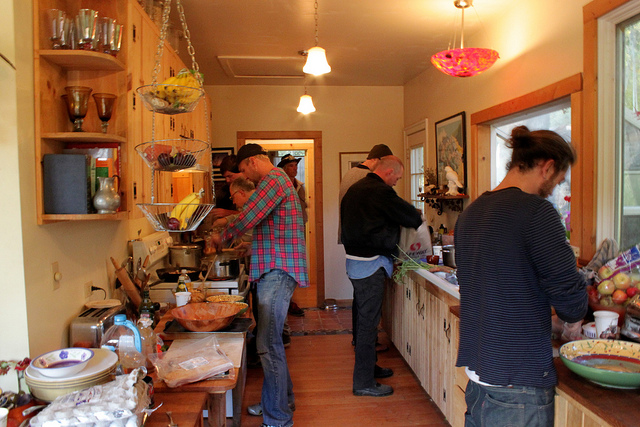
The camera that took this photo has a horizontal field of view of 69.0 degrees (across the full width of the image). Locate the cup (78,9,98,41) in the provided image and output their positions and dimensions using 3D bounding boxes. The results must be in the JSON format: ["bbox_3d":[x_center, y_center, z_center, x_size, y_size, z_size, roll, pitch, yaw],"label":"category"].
[{"bbox_3d":[-1.256,-1.034,2.590,0.064,0.166,0.105,7,8,38],"label":"cup"}]

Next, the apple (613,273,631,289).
[{"bbox_3d":[1.589,0.358,2.460,0.077,0.075,0.074,1,-32,17],"label":"apple"}]

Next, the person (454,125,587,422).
[{"bbox_3d":[0.957,0.334,2.249,0.584,1.494,0.276,3,6,9],"label":"person"}]

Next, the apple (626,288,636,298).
[{"bbox_3d":[1.626,0.414,2.444,0.044,0.043,0.053,-10,-38,24],"label":"apple"}]

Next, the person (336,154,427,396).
[{"bbox_3d":[0.493,0.485,4.078,0.625,1.997,0.730,2,6,-4],"label":"person"}]

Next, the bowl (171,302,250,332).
[{"bbox_3d":[-0.717,0.664,2.970,0.400,0.119,0.434,2,3,0],"label":"bowl"}]

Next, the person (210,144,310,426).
[{"bbox_3d":[-0.429,0.547,3.421,0.686,2.085,0.467,1,6,-12],"label":"person"}]

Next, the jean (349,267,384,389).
[{"bbox_3d":[0.394,0.946,3.861,0.248,1.026,0.210,1,6,-14],"label":"jean"}]

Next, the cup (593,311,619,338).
[{"bbox_3d":[1.438,0.548,2.358,0.119,0.122,0.124,0,4,0],"label":"cup"}]

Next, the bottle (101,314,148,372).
[{"bbox_3d":[-1.015,0.646,2.425,0.255,0.276,0.109,6,7,34],"label":"bottle"}]

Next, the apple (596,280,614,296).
[{"bbox_3d":[1.511,0.394,2.467,0.074,0.066,0.068,6,28,5],"label":"apple"}]

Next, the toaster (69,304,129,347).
[{"bbox_3d":[-1.350,0.709,2.916,0.209,0.209,0.404,1,5,3],"label":"toaster"}]

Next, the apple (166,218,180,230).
[{"bbox_3d":[-0.742,0.056,2.409,0.060,0.057,0.056,-2,-6,-3],"label":"apple"}]

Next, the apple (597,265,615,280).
[{"bbox_3d":[1.551,0.320,2.530,0.054,0.082,0.081,3,6,5],"label":"apple"}]

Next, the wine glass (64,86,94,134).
[{"bbox_3d":[-1.354,-0.585,2.648,0.134,0.255,0.067,1,6,-9],"label":"wine glass"}]

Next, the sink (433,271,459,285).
[{"bbox_3d":[1.024,0.503,3.725,0.244,0.095,0.200,-1,10,10],"label":"sink"}]

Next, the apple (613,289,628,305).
[{"bbox_3d":[1.568,0.440,2.442,0.066,0.073,0.034,5,7,25],"label":"apple"}]

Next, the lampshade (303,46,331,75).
[{"bbox_3d":[-0.013,-1.260,3.839,0.196,0.241,0.235,2,6,-2],"label":"lampshade"}]

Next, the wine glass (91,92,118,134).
[{"bbox_3d":[-1.280,-0.598,2.806,0.127,0.233,0.159,-1,7,-25],"label":"wine glass"}]

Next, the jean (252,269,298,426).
[{"bbox_3d":[-0.315,0.956,3.379,0.294,1.126,0.229,2,6,-5],"label":"jean"}]

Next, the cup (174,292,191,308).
[{"bbox_3d":[-0.956,0.611,3.313,0.096,0.070,0.092,3,4,0],"label":"cup"}]

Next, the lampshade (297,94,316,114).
[{"bbox_3d":[-0.144,-1.227,5.361,0.239,0.231,0.225,-3,8,-1],"label":"lampshade"}]

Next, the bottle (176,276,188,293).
[{"bbox_3d":[-0.997,0.535,3.443,0.097,0.146,0.094,0,-4,0],"label":"bottle"}]

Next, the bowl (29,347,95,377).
[{"bbox_3d":[-1.159,0.676,2.114,0.258,0.078,0.158,1,6,-14],"label":"bowl"}]

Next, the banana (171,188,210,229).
[{"bbox_3d":[-0.682,-0.024,2.478,0.085,0.102,0.277,18,34,-4],"label":"banana"}]
